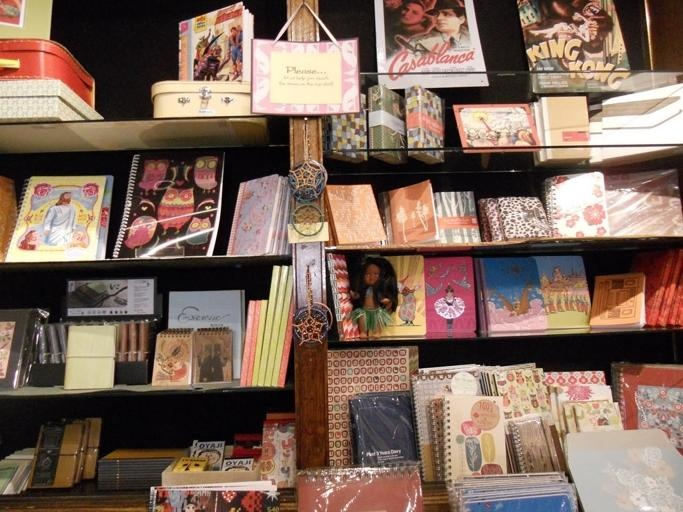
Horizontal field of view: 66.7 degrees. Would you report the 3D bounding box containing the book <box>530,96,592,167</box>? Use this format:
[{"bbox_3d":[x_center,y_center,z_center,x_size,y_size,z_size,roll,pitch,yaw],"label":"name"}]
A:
[{"bbox_3d":[1.107,-0.625,2.579,0.289,0.351,0.248,-3,12,7],"label":"book"}]
